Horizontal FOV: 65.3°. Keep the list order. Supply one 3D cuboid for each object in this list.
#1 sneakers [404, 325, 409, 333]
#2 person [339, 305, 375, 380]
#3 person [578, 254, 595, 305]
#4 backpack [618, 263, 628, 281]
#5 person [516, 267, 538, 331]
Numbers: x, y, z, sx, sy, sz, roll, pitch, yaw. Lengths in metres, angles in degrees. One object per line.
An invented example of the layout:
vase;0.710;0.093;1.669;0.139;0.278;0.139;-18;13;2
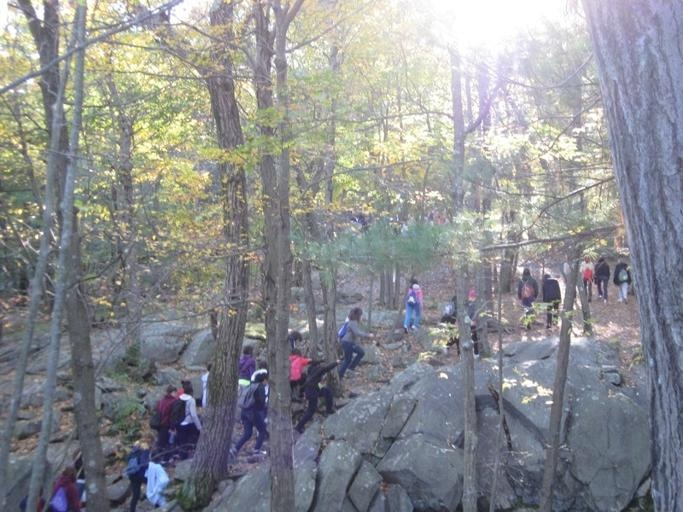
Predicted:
sneakers;2.289;2.616;19.021;0.106;0.225;0.310;-4;-25;11
person;0.355;2.550;15.771;1.030;2.211;0.710;1;12;3
person;8.484;0.832;18.372;0.384;1.437;2.284;-3;-5;25
backpack;9.125;0.541;17.293;0.271;0.568;0.534;-4;-5;29
person;5.733;1.311;16.437;0.574;2.075;0.537;7;27;34
